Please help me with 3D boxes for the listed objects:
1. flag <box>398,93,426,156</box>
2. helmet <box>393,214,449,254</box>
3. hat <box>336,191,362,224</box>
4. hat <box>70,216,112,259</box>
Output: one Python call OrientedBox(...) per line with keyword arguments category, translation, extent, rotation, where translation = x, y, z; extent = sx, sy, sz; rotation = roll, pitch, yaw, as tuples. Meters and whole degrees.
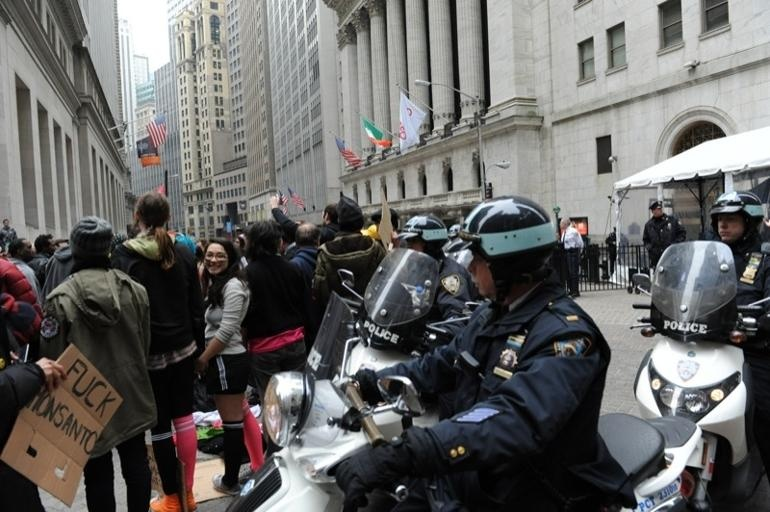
OrientedBox(category="flag", translation=(1.131, -5.905, 30.130), extent=(0.932, 2.532, 2.246), rotation=(-2, 6, 4))
OrientedBox(category="helmet", translation=(0.429, -0.265, 7.934), extent=(0.500, 0.453, 0.391), rotation=(3, -4, -11))
OrientedBox(category="hat", translation=(-0.482, -0.621, 9.099), extent=(0.254, 0.230, 0.401), rotation=(-2, 16, -14))
OrientedBox(category="hat", translation=(-2.839, -0.191, 6.649), extent=(0.374, 0.377, 0.254), rotation=(-6, 6, -28))
